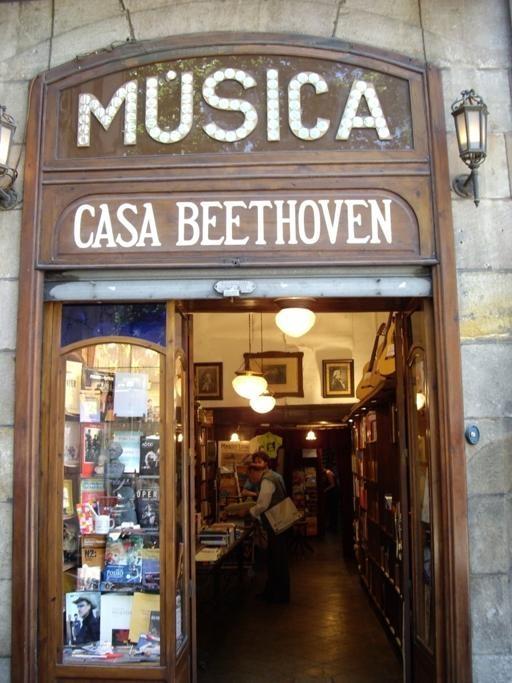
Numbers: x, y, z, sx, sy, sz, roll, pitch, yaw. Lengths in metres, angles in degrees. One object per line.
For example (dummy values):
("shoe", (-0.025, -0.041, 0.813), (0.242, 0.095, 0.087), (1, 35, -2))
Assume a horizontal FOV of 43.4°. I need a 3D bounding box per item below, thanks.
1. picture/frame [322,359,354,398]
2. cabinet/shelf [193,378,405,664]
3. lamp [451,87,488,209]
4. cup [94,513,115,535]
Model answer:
("picture/frame", (1.474, 0.677, 11.456), (0.553, 0.854, 0.052), (0, -4, 0))
("cabinet/shelf", (0.456, 2.178, 8.229), (2.594, 0.874, 3.293), (-3, 24, 0))
("lamp", (1.076, -1.015, 3.353), (0.229, 0.625, 0.158), (-6, -8, 26))
("cup", (-0.866, 1.042, 3.664), (0.105, 0.121, 0.073), (3, -15, -15))
